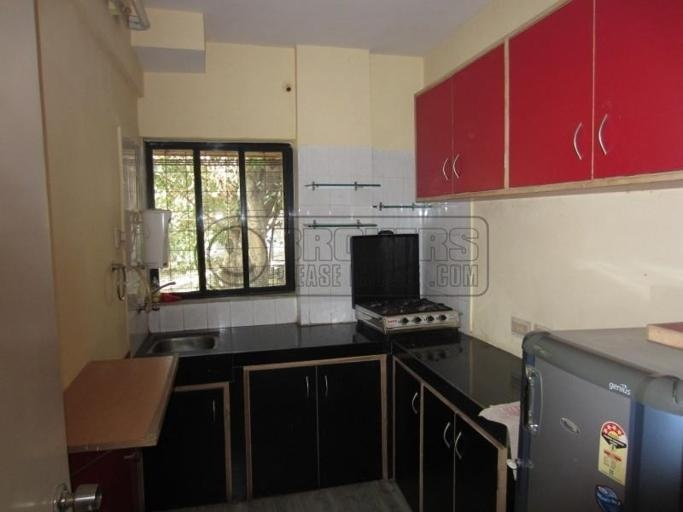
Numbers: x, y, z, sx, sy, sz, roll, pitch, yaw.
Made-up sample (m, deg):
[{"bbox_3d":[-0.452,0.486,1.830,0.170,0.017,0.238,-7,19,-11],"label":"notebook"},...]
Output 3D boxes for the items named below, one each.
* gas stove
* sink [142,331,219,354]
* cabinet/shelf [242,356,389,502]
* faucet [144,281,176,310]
[{"bbox_3d":[0.420,0.376,3.446,0.578,0.149,0.508,-2,7,-15],"label":"gas stove"},{"bbox_3d":[-0.969,0.547,3.319,0.421,0.091,0.331,-2,7,-14],"label":"sink"},{"bbox_3d":[-0.190,0.993,3.130,0.759,0.724,0.304,-1,0,-13],"label":"cabinet/shelf"},{"bbox_3d":[-1.170,0.242,3.452,0.216,0.101,0.172,0,3,-24],"label":"faucet"}]
